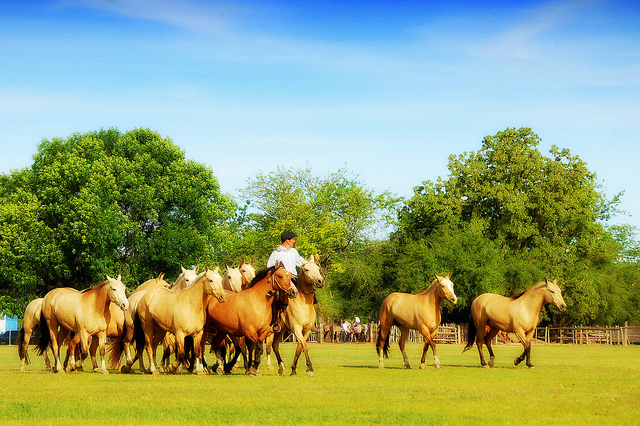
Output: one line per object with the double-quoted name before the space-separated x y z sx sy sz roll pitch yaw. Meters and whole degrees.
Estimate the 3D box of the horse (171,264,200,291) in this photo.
"horse" -5.428 2.679 30.292 0.687 0.322 1.120 5 -22 -26

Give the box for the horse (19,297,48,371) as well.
"horse" -11.697 4.863 31.338 0.981 2.898 2.985 3 -9 -21

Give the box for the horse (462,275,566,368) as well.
"horse" 7.866 4.557 31.890 3.180 3.437 2.543 0 -8 -2

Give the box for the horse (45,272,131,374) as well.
"horse" -8.778 4.227 29.295 3.865 3.569 1.904 -8 -11 42

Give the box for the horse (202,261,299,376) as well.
"horse" -2.568 3.834 28.269 3.559 3.995 2.486 0 -8 0
